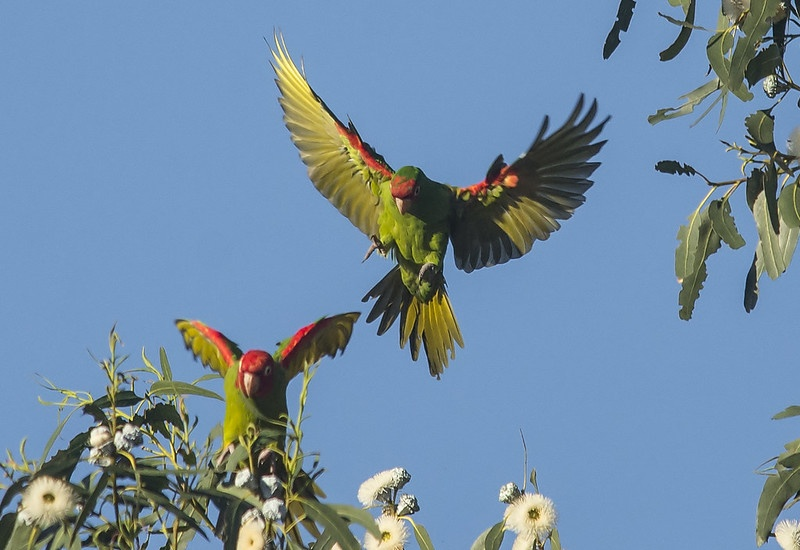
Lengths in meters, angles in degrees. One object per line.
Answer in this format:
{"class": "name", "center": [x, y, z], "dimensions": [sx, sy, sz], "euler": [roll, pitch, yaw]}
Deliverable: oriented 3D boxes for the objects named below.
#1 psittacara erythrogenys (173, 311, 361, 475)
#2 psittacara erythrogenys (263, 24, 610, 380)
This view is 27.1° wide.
{"class": "psittacara erythrogenys", "center": [-0.520, 0.448, 5.874], "dimensions": [0.510, 0.537, 0.274], "euler": [2, -25, -7]}
{"class": "psittacara erythrogenys", "center": [0.092, -0.292, 7.588], "dimensions": [1.505, 0.686, 1.585], "euler": [10, -81, 15]}
